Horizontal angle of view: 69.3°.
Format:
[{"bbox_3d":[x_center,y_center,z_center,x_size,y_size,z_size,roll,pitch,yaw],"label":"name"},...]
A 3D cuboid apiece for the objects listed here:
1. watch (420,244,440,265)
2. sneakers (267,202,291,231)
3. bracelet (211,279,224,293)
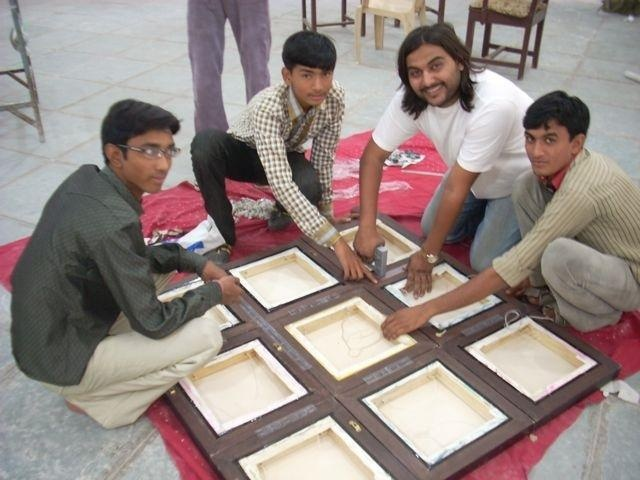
[{"bbox_3d":[0.622,0.086,2.622,0.089,0.103,0.056,37,85,2],"label":"watch"},{"bbox_3d":[-0.268,-0.171,3.399,0.147,0.178,0.191,26,16,0],"label":"sneakers"},{"bbox_3d":[-0.484,0.215,2.191,0.048,0.050,0.050,-8,48,-9],"label":"bracelet"}]
